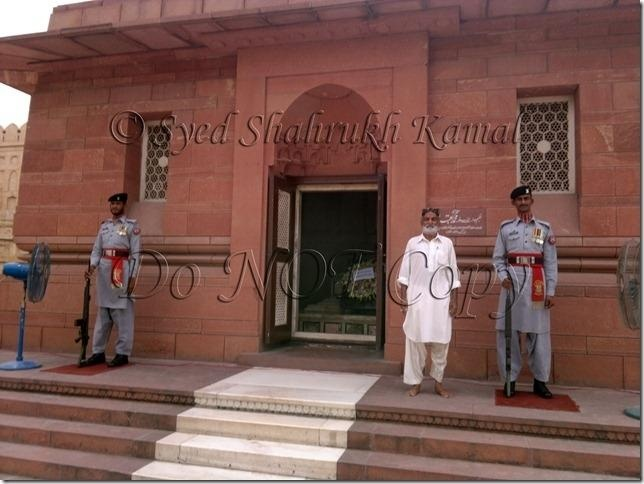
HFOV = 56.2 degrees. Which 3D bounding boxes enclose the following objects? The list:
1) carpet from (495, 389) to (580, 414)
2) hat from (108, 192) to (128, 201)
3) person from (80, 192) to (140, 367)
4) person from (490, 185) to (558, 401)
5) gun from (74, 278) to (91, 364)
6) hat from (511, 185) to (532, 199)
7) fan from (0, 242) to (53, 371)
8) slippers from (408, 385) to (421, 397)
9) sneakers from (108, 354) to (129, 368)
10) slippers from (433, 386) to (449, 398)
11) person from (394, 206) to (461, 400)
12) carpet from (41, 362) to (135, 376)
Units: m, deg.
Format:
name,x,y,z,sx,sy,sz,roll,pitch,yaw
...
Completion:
name,x,y,z,sx,sy,sz,roll,pitch,yaw
carpet,2.254,1.677,6.403,0.822,0.041,0.642,1,-1,14
hat,-2.697,-0.591,8.023,0.175,0.097,0.218,-3,-3,-14
person,-2.728,0.466,7.865,0.654,2.228,0.433,1,-2,-16
person,2.265,0.522,6.769,0.676,2.310,0.449,0,-2,16
gun,-3.178,1.013,7.982,0.183,1.115,1.017,1,-2,-21
hat,2.251,-0.558,6.900,0.159,0.071,0.189,-9,3,0
fan,-3.938,0.789,7.955,0.594,1.557,1.348,1,-2,-24
slippers,0.998,1.624,6.591,0.065,0.133,0.181,-7,-23,23
sneakers,-2.633,1.532,7.770,0.095,0.132,0.292,-5,-19,13
slippers,1.297,1.615,6.568,0.071,0.143,0.177,-23,9,-33
person,1.162,0.769,6.650,0.671,1.775,0.321,0,-2,7
carpet,-2.965,1.558,7.536,0.858,0.040,0.766,1,-1,13
